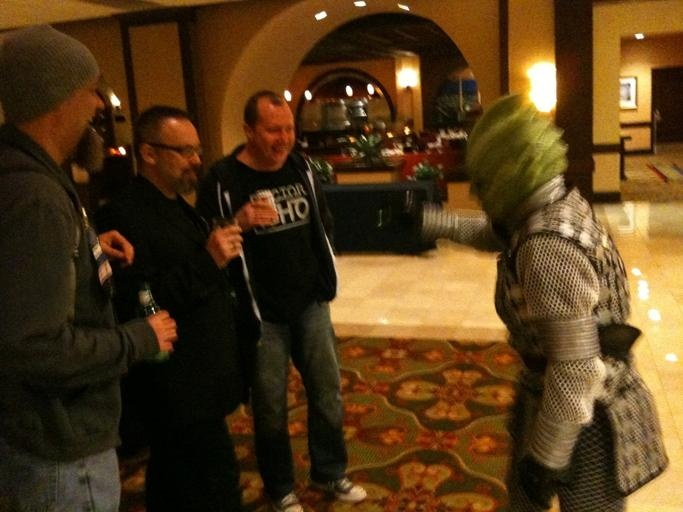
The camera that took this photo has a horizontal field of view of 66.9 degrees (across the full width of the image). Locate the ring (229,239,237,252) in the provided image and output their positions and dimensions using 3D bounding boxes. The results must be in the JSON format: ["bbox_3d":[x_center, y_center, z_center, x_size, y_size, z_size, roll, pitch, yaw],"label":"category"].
[{"bbox_3d":[-0.452,-0.041,2.155,0.037,0.036,0.017,-16,16,-41],"label":"ring"}]

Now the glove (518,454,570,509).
[{"bbox_3d":[0.500,0.559,1.297,0.115,0.134,0.066,11,24,19],"label":"glove"}]

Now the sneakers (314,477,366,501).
[{"bbox_3d":[-0.026,1.218,2.791,0.290,0.112,0.113,2,12,19],"label":"sneakers"}]
